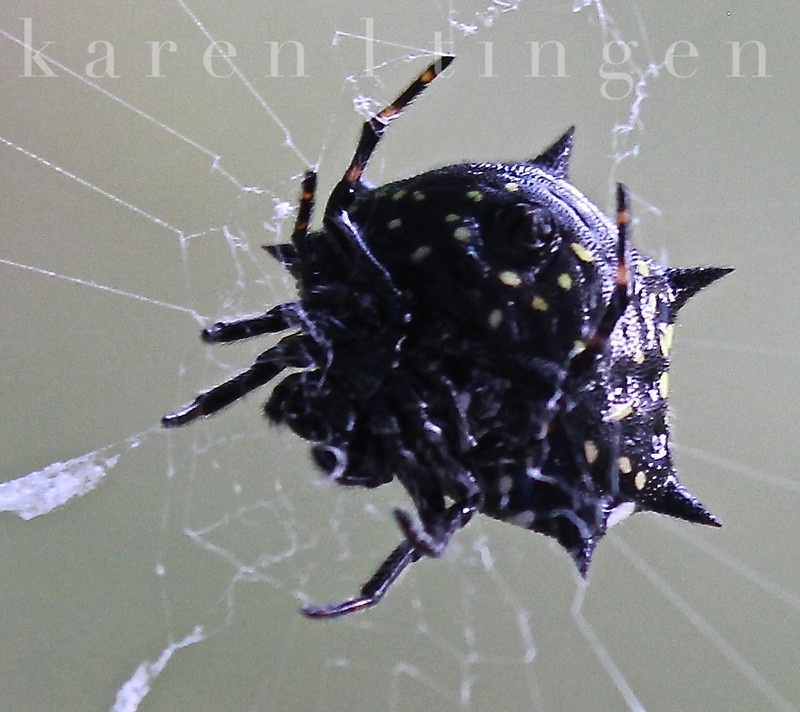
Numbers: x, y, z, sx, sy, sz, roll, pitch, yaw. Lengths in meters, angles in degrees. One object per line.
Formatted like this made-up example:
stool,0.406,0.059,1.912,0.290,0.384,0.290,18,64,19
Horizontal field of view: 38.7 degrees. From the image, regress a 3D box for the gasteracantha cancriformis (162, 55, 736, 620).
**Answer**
gasteracantha cancriformis,0.146,0.009,1.462,0.731,0.231,0.482,25,-78,-6
